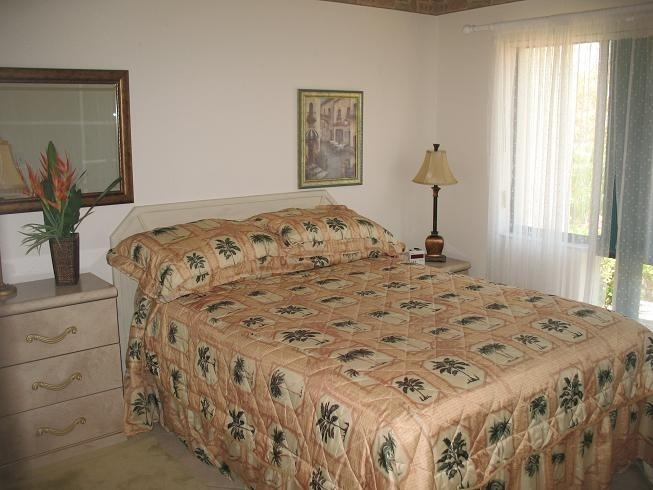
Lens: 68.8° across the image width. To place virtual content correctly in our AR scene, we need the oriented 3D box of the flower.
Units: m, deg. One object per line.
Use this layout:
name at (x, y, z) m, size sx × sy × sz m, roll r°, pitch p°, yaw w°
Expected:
flower at (-1.647, -0.314, 3.146) m, size 0.607 × 0.489 × 0.677 m, roll -1°, pitch 14°, yaw 15°

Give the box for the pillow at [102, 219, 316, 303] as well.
pillow at (-0.760, 0.058, 3.120) m, size 0.798 × 0.207 × 0.629 m, roll -12°, pitch 23°, yaw -37°

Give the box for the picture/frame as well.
picture/frame at (-0.018, -0.956, 4.151) m, size 0.889 × 1.006 × 0.047 m, roll -7°, pitch 13°, yaw -35°
